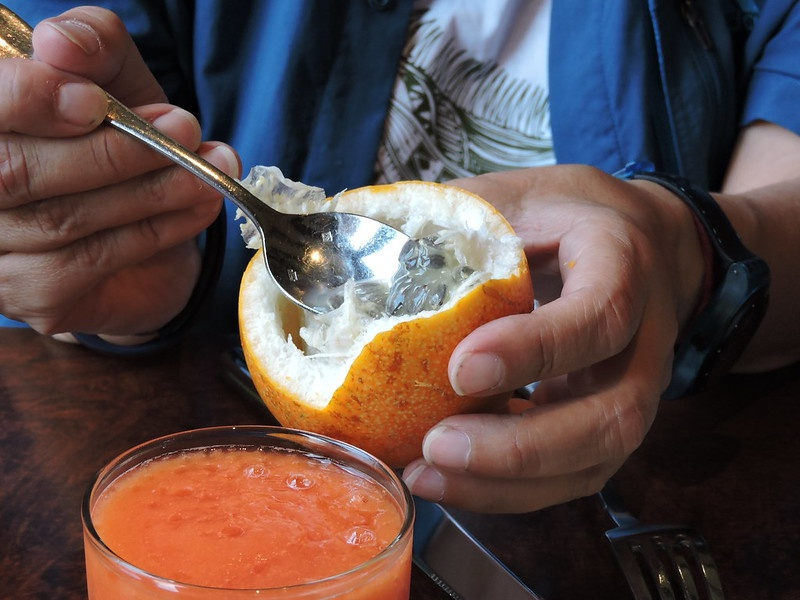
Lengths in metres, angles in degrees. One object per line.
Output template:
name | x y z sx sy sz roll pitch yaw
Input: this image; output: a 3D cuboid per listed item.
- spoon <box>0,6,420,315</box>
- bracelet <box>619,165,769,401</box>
spoon | -0.300 -0.234 1.122 0.868 0.088 0.179 37 57 -6
bracelet | 0.463 -0.033 1.166 0.132 0.266 0.335 5 35 -13
